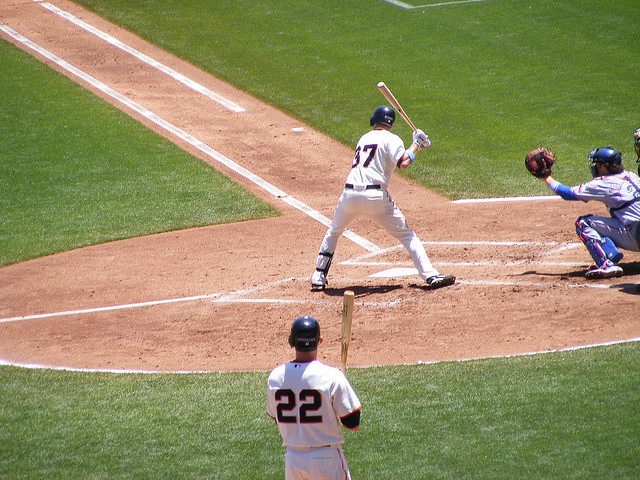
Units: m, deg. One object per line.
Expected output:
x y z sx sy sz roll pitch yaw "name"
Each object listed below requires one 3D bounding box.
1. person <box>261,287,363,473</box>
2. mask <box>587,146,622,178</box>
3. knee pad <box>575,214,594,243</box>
-0.105 2.140 14.493 1.247 2.153 0.593 2 16 1 "person"
4.752 -1.287 18.304 0.406 0.550 0.504 -4 17 -18 "mask"
4.409 -0.172 18.380 0.328 0.410 0.155 -14 8 -32 "knee pad"
